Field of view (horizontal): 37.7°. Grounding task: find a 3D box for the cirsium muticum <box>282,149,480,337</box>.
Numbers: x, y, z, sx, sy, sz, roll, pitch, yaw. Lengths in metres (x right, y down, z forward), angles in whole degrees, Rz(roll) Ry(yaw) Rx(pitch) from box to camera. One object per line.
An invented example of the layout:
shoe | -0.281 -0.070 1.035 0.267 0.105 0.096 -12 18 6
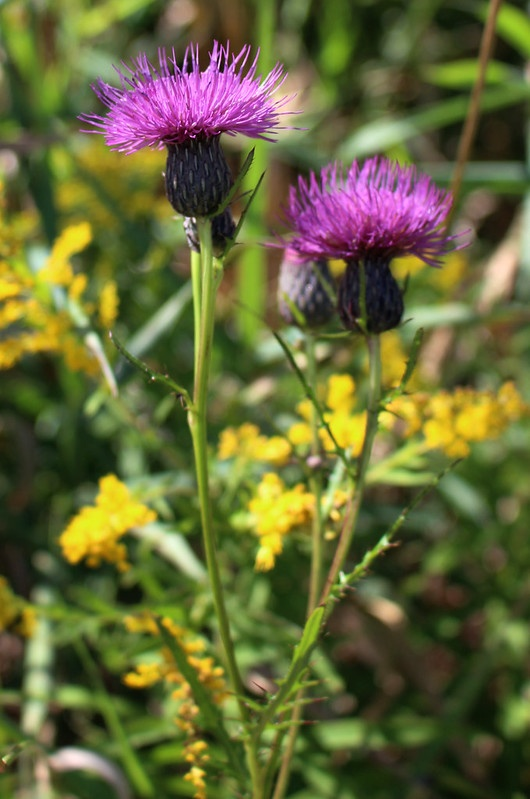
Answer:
cirsium muticum | 0.089 -0.131 0.708 0.172 0.153 0.150 -3 -7 5

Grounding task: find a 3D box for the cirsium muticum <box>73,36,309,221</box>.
cirsium muticum | -0.066 -0.236 0.708 0.194 0.148 0.169 -1 32 3
